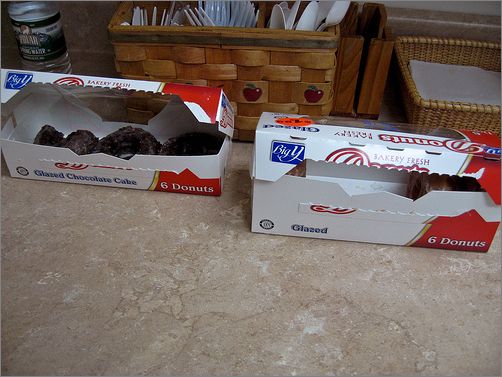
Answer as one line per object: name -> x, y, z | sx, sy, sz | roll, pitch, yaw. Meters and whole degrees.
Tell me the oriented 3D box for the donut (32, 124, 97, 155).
donut -> -0.499, -0.133, 1.130 | 0.134, 0.048, 0.095 | 11, 23, -11
